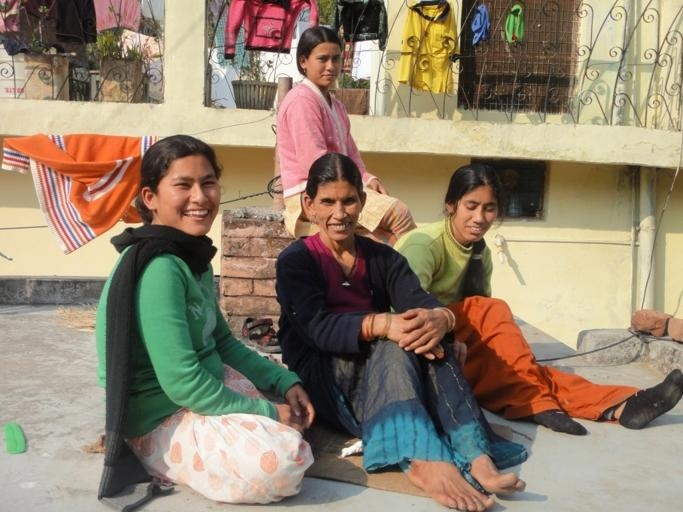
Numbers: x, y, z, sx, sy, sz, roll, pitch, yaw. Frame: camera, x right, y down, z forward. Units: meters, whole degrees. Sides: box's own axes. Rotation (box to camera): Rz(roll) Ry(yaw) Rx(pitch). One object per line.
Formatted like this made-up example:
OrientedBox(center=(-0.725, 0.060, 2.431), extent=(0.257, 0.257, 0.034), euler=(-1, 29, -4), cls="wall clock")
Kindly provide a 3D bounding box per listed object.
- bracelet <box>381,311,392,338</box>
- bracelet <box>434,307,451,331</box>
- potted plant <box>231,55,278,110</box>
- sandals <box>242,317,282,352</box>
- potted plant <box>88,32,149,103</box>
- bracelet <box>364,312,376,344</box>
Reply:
OrientedBox(center=(0.341, 0.507, 6.639), extent=(0.054, 0.169, 0.055), euler=(3, 8, 2), cls="bracelet")
OrientedBox(center=(0.788, 0.457, 6.793), extent=(0.142, 0.143, 0.143), euler=(-2, -3, -14), cls="bracelet")
OrientedBox(center=(-1.159, -2.342, 12.178), extent=(0.591, 0.764, 0.642), euler=(0, 8, -20), cls="potted plant")
OrientedBox(center=(-0.737, 0.707, 8.345), extent=(0.256, 0.150, 0.373), euler=(-4, 8, -42), cls="sandals")
OrientedBox(center=(-3.075, -2.544, 12.215), extent=(0.682, 0.971, 0.678), euler=(5, 11, 1), cls="potted plant")
OrientedBox(center=(0.207, 0.505, 6.666), extent=(0.070, 0.153, 0.115), euler=(-1, 39, 10), cls="bracelet")
